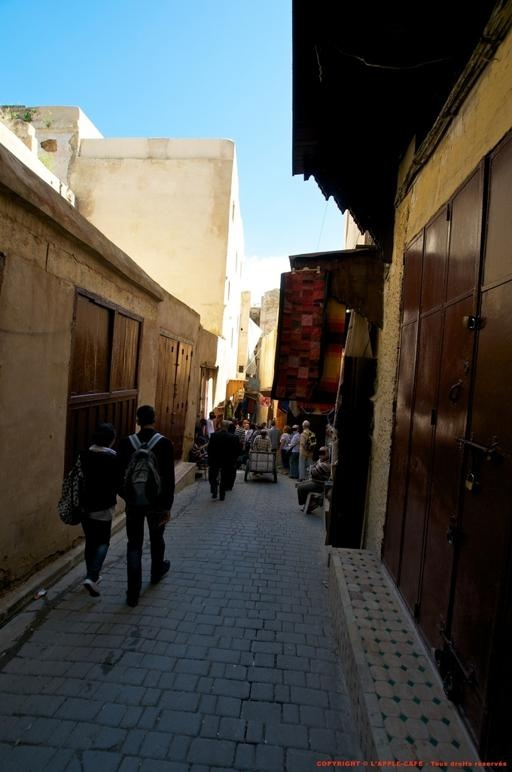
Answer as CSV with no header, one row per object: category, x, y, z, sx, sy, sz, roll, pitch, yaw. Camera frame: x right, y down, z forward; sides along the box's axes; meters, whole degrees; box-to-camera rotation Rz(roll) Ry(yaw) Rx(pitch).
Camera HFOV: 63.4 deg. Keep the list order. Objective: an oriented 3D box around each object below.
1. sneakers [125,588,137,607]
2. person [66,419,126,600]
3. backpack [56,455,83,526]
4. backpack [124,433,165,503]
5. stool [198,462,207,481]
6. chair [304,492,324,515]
sneakers,-0.934,1.588,3.146,0.070,0.122,0.113,4,-11,-5
person,-1.326,0.958,3.282,0.420,1.340,0.353,6,-7,-27
backpack,-1.396,0.793,3.151,0.158,0.507,0.176,6,-6,-23
backpack,-0.897,0.650,3.290,0.291,0.567,0.211,4,-6,-4
stool,-1.330,2.086,10.217,0.221,0.483,0.278,1,-9,4
chair,1.052,2.103,7.529,0.497,0.359,0.197,9,-8,-36
